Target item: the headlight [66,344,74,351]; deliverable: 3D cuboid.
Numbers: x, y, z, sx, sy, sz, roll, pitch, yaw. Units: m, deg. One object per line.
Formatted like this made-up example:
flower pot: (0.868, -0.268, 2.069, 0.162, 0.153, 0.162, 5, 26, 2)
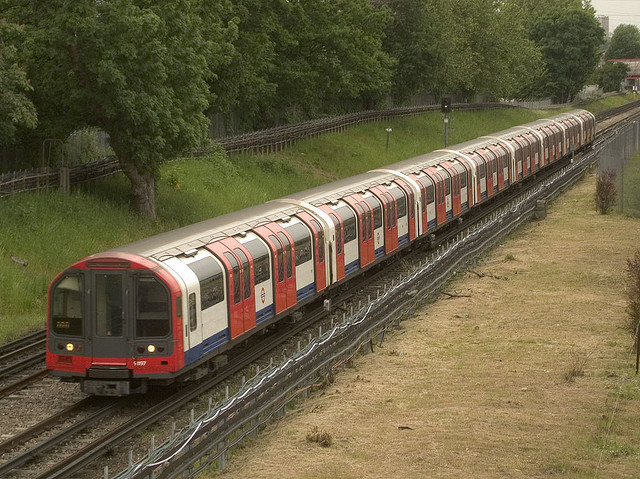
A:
headlight: (-6.724, 2.879, 22.697, 0.165, 0.184, 0.040, -2, 1, -4)
